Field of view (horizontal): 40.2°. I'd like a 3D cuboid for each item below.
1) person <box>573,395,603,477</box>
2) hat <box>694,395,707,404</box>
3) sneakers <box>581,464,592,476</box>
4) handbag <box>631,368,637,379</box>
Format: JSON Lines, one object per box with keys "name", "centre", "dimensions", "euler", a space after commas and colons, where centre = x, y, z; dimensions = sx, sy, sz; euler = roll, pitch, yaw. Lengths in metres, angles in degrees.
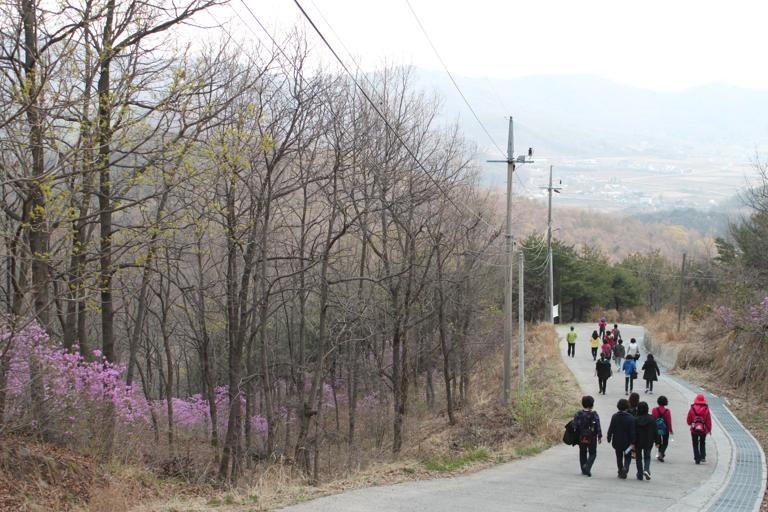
{"name": "person", "centre": [7.396, 6.493, 37.866], "dimensions": [0.875, 2.842, 1.599], "euler": [-3, -9, 10]}
{"name": "hat", "centre": [11.714, 5.313, 38.737], "dimensions": [0.469, 0.367, 0.615], "euler": [1, 5, 21]}
{"name": "sneakers", "centre": [7.335, 7.693, 37.743], "dimensions": [0.228, 0.513, 0.193], "euler": [-6, -13, -38]}
{"name": "handbag", "centre": [11.219, 5.212, 46.783], "dimensions": [0.183, 0.421, 0.697], "euler": [-5, -10, 20]}
